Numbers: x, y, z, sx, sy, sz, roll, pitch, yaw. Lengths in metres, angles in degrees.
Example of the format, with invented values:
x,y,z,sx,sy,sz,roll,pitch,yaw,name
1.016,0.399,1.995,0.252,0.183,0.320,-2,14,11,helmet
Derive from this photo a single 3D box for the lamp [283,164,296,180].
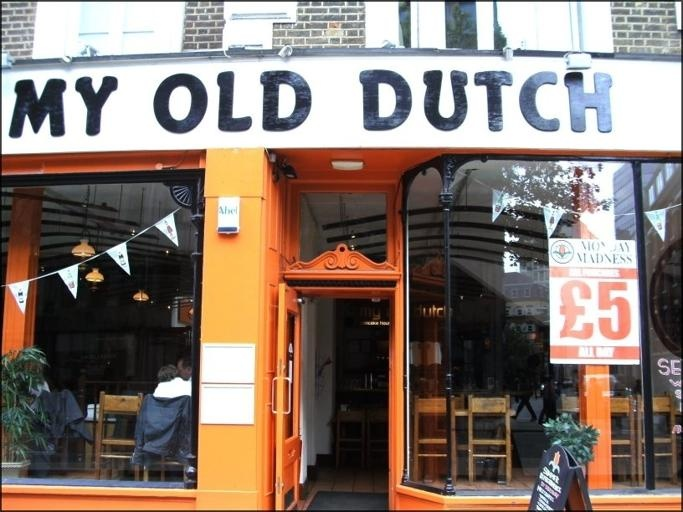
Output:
x,y,z,sx,sy,sz,roll,pitch,yaw,name
-0.719,-1.240,12.363,0.180,0.159,0.460,-1,-9,-1,lamp

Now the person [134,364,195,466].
x,y,z,sx,sy,sz,roll,pitch,yaw,name
-2.527,2.392,12.050,0.693,1.356,0.402,0,-52,-5,person

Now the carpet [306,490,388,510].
x,y,z,sx,sy,sz,roll,pitch,yaw,name
0.130,3.636,12.810,1.155,0.183,0.886,-1,-10,1,carpet

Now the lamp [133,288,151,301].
x,y,z,sx,sy,sz,roll,pitch,yaw,name
-4.012,0.814,17.384,0.364,0.284,0.387,1,0,25,lamp

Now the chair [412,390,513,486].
x,y,z,sx,sy,sz,roll,pitch,yaw,name
1.735,2.574,12.204,1.107,0.967,1.204,0,-11,2,chair

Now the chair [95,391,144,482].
x,y,z,sx,sy,sz,roll,pitch,yaw,name
-3.097,2.490,11.987,0.633,1.153,0.628,6,-7,-25,chair
